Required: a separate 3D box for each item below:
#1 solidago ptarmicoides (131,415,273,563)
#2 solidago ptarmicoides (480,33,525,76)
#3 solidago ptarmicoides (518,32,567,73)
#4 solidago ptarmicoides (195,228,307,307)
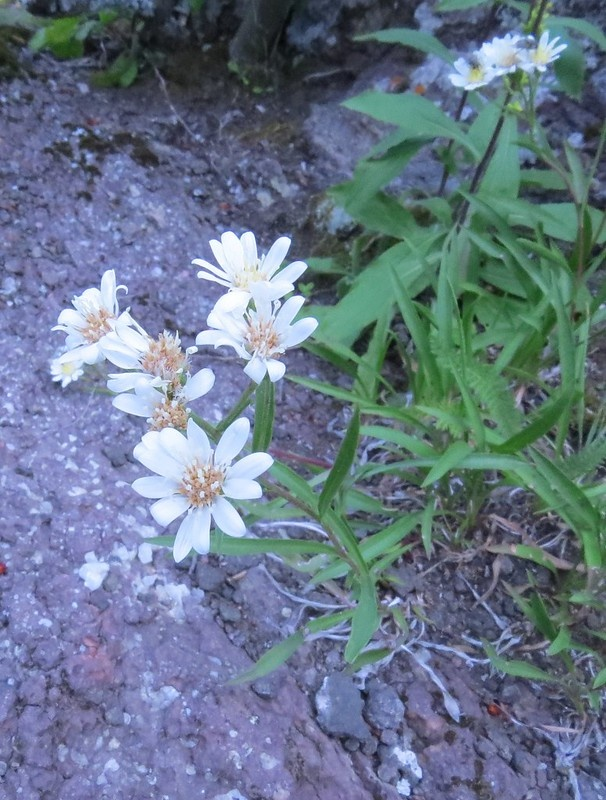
[{"bbox_3d":[-0.202,0.138,1.597,0.288,0.098,0.291,9,20,-1],"label":"solidago ptarmicoides"},{"bbox_3d":[0.504,-0.884,2.044,0.078,0.097,0.142,13,31,-16],"label":"solidago ptarmicoides"},{"bbox_3d":[0.589,-0.867,2.006,0.081,0.104,0.147,25,31,3],"label":"solidago ptarmicoides"},{"bbox_3d":[-0.128,-0.286,1.791,0.237,0.230,0.072,-8,80,-27],"label":"solidago ptarmicoides"}]
